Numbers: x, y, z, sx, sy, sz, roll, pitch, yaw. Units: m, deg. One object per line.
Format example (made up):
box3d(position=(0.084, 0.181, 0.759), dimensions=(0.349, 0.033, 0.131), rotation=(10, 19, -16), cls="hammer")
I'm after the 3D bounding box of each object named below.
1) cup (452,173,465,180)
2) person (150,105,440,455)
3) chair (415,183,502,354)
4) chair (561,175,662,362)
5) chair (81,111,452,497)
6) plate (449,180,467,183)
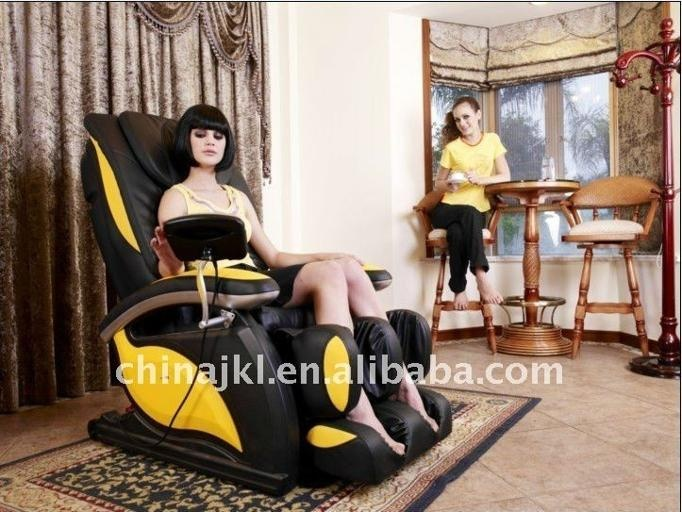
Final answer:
box3d(position=(0.783, -0.525, 3.768), dimensions=(0.060, 0.041, 0.167), rotation=(4, 8, 37), cls="cup")
box3d(position=(-0.183, 0.045, 2.298), dimensions=(1.181, 1.404, 0.727), rotation=(-2, 4, 32), cls="person")
box3d(position=(0.830, 0.040, 4.144), dimensions=(0.608, 1.195, 0.542), rotation=(-1, 1, -2), cls="chair")
box3d(position=(1.776, 0.056, 3.853), dimensions=(0.577, 1.182, 0.788), rotation=(3, 8, 28), cls="chair")
box3d(position=(-0.307, 0.180, 2.749), dimensions=(1.549, 1.500, 1.083), rotation=(-1, 1, 30), cls="chair")
box3d(position=(0.785, -0.492, 3.780), dimensions=(0.061, 0.023, 0.175), rotation=(3, 7, 32), cls="plate")
